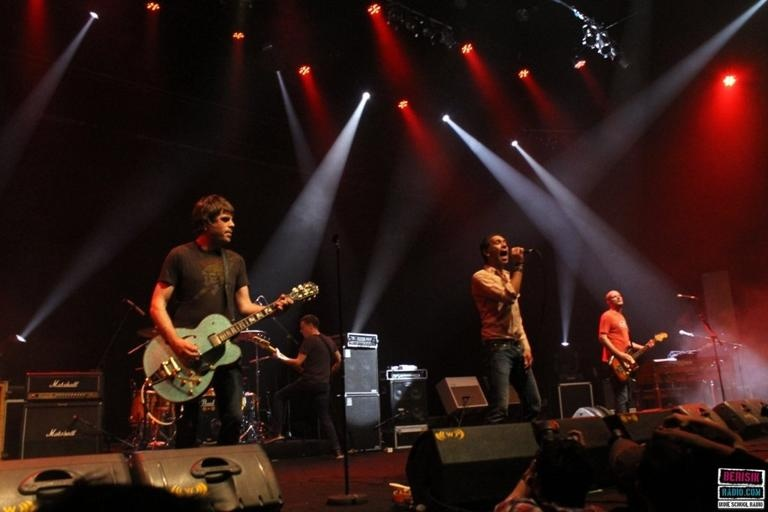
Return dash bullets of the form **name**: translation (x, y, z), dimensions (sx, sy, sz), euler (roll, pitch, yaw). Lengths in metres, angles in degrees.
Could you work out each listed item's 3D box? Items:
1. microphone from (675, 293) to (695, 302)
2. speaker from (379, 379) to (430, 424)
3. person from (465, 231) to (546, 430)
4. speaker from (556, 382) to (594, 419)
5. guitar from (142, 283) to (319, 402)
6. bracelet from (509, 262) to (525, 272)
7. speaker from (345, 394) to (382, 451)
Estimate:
- **microphone**: translation (6.363, 0.853, 12.302), dimensions (0.164, 0.206, 1.036), euler (-50, -14, 6)
- **speaker**: translation (0.606, 2.677, 10.882), dimensions (0.852, 0.820, 0.780), euler (-12, -19, 32)
- **person**: translation (1.330, 0.725, 6.445), dimensions (0.693, 2.104, 0.686), euler (-10, -18, 8)
- **speaker**: translation (3.638, 2.772, 11.206), dimensions (0.675, 0.673, 0.241), euler (-2, -7, -13)
- **guitar**: translation (-1.471, 0.764, 5.590), dimensions (1.808, 0.692, 0.231), euler (-31, -3, -24)
- **bracelet**: translation (1.852, 0.144, 8.179), dimensions (0.197, 0.157, 0.203), euler (1, -3, -7)
- **speaker**: translation (-0.375, 2.835, 10.040), dimensions (0.618, 0.954, 0.320), euler (0, -19, -21)
